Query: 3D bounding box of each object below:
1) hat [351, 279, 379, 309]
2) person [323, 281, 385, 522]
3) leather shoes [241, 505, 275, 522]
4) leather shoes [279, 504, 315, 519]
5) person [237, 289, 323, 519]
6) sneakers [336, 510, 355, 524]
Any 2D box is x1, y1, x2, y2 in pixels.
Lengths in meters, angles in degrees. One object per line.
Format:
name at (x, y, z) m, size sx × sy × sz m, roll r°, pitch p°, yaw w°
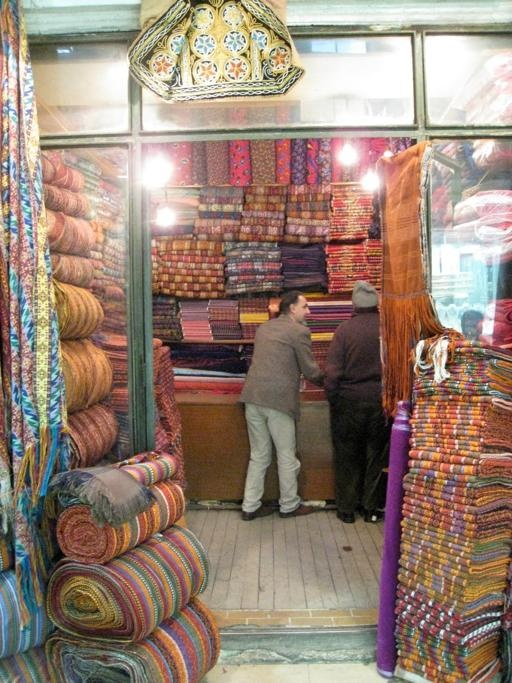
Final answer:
hat at (0.700, -0.293, 3.691) m, size 0.140 × 0.119 × 0.195 m, roll 2°, pitch 8°, yaw 11°
person at (0.649, 0.386, 3.780) m, size 0.398 × 1.543 × 0.197 m, roll -2°, pitch 2°, yaw 9°
leather shoes at (0.020, 1.138, 3.878) m, size 0.236 × 0.092 × 0.074 m, roll -8°, pitch 12°, yaw -36°
leather shoes at (0.287, 1.126, 3.925) m, size 0.243 × 0.092 × 0.078 m, roll -10°, pitch 9°, yaw -12°
person at (0.147, 0.406, 3.897) m, size 0.553 × 1.498 × 0.340 m, roll -2°, pitch 2°, yaw -15°
sneakers at (0.577, 1.118, 3.769) m, size 0.111 × 0.070 × 0.122 m, roll -1°, pitch 1°, yaw 7°
